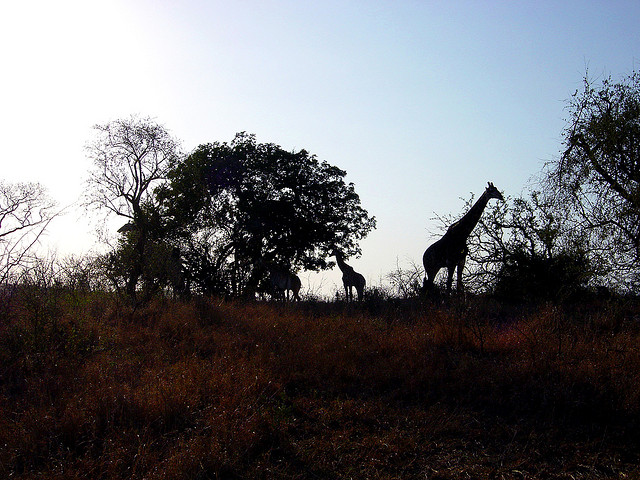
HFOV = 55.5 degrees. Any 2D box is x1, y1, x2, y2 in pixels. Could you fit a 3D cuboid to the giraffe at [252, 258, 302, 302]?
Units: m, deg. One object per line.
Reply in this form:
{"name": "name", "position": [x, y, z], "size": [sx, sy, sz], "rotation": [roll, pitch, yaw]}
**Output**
{"name": "giraffe", "position": [-1.789, 2.012, 30.090], "size": [1.822, 2.898, 0.831], "rotation": [4, 21, 21]}
